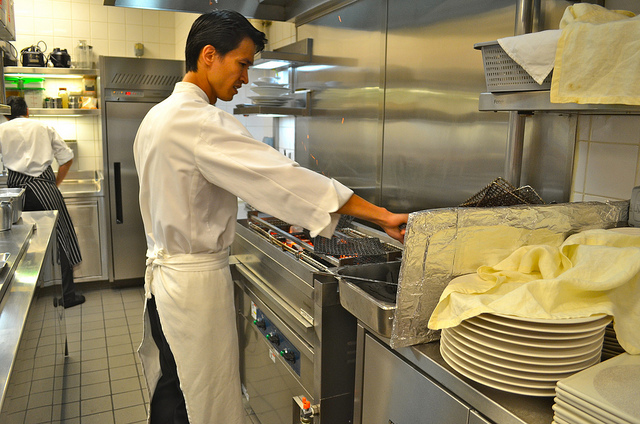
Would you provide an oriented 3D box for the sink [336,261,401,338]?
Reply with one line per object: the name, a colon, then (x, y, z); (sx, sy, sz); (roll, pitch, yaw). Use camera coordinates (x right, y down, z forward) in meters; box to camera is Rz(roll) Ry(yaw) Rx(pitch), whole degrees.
sink: (0.207, 0.301, 1.593); (0.237, 0.104, 0.308); (-23, 26, -36)
